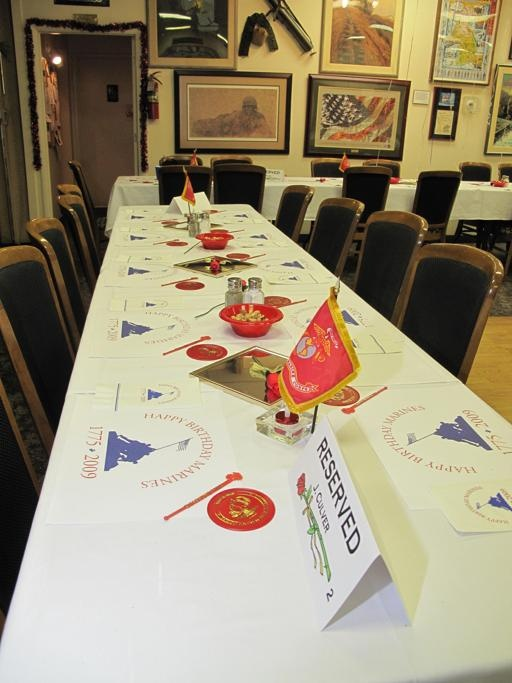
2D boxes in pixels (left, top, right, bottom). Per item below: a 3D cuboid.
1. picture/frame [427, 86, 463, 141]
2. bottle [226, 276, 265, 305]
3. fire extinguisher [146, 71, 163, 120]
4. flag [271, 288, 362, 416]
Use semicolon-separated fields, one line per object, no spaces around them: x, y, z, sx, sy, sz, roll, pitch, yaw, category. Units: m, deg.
2.588;-3.127;6.657;0.411;0.666;0.160;1;28;-9;picture/frame
-0.038;-0.150;1.376;0.122;0.119;0.062;-4;21;-12;bottle
-1.298;-3.058;6.031;0.155;0.558;0.217;6;27;0;fire extinguisher
0.109;0.024;0.909;0.029;0.211;0.234;18;22;-25;flag
